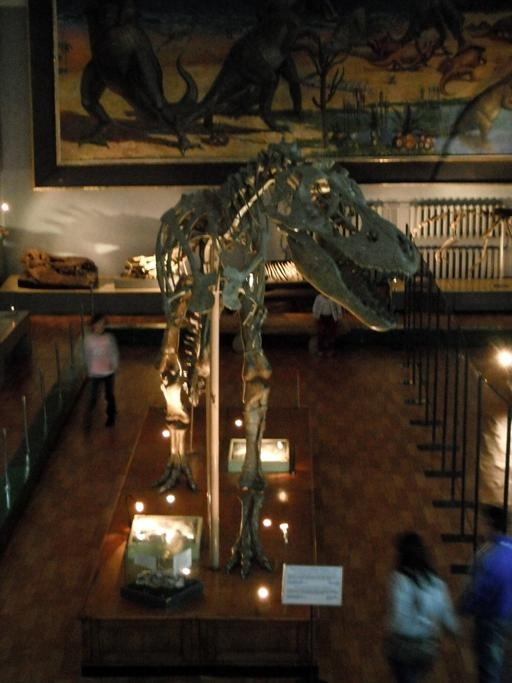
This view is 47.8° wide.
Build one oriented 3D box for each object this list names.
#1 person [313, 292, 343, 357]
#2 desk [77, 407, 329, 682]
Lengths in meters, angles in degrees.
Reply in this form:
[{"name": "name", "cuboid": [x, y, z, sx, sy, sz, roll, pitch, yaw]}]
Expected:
[{"name": "person", "cuboid": [0.921, -0.238, 7.471, 0.325, 0.808, 0.813, 3, 11, 7]}, {"name": "desk", "cuboid": [-0.284, 1.110, 3.164, 0.723, 0.387, 1.554, 0, 19, 2]}]
